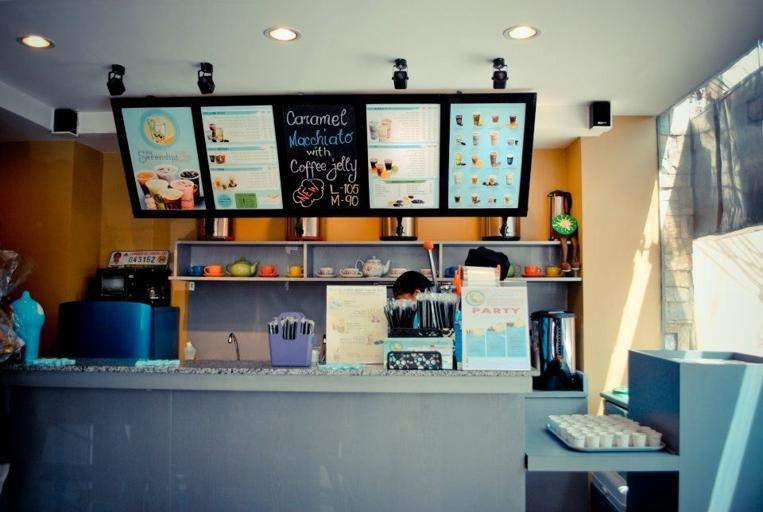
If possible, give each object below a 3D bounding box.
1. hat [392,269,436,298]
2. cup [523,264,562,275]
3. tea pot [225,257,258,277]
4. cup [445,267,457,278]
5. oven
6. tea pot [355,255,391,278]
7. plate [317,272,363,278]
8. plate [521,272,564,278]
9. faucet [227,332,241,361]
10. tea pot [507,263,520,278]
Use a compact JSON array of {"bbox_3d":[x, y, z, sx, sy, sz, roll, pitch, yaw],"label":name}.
[{"bbox_3d":[0.218,0.216,4.973,0.246,0.228,0.182,-3,-23,0],"label":"hat"},{"bbox_3d":[1.559,0.150,6.591,0.288,0.091,0.138,0,-7,7],"label":"cup"},{"bbox_3d":[-1.382,0.102,6.663,0.247,0.137,0.174,0,-1,24],"label":"tea pot"},{"bbox_3d":[0.668,0.158,6.686,0.092,0.127,0.108,2,2,-9],"label":"cup"},{"bbox_3d":[-2.404,0.284,6.589,0.711,0.456,0.383,2,-6,-2],"label":"oven"},{"bbox_3d":[-0.058,0.146,6.603,0.297,0.205,0.194,2,-10,-8],"label":"tea pot"},{"bbox_3d":[-0.394,0.174,6.597,0.281,0.058,0.156,0,-6,12],"label":"plate"},{"bbox_3d":[1.553,0.182,6.597,0.387,0.059,0.293,-2,-1,20],"label":"plate"},{"bbox_3d":[-1.470,0.894,6.796,0.130,0.255,0.237,-1,-1,-13],"label":"faucet"},{"bbox_3d":[1.281,0.134,6.599,0.118,0.132,0.187,-2,-11,14],"label":"tea pot"}]
